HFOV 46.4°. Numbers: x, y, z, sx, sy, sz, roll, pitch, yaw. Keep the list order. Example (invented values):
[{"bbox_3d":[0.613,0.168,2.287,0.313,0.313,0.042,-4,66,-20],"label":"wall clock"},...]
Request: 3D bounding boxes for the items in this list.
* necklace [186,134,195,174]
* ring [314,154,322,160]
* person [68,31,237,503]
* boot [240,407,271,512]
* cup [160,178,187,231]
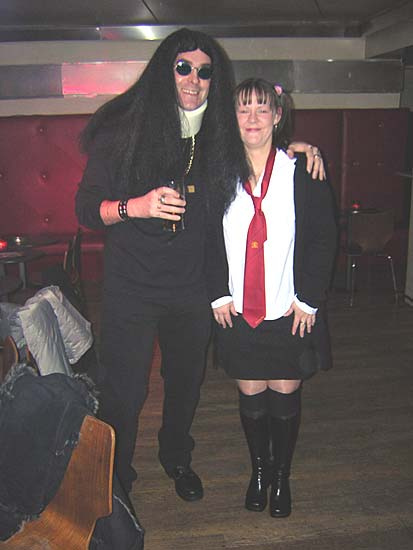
[{"bbox_3d":[-0.047,-0.360,1.448,0.012,0.134,0.018,6,3,25],"label":"necklace"},{"bbox_3d":[0.318,-0.339,1.382,0.016,0.013,0.017,-11,55,16],"label":"ring"},{"bbox_3d":[-0.113,0.088,1.534,0.360,1.593,0.549,11,17,43],"label":"person"},{"bbox_3d":[0.189,0.629,1.691,0.082,0.422,0.160,10,17,40],"label":"boot"},{"bbox_3d":[-0.090,-0.191,1.349,0.071,0.153,0.166,-2,13,-4],"label":"cup"}]
